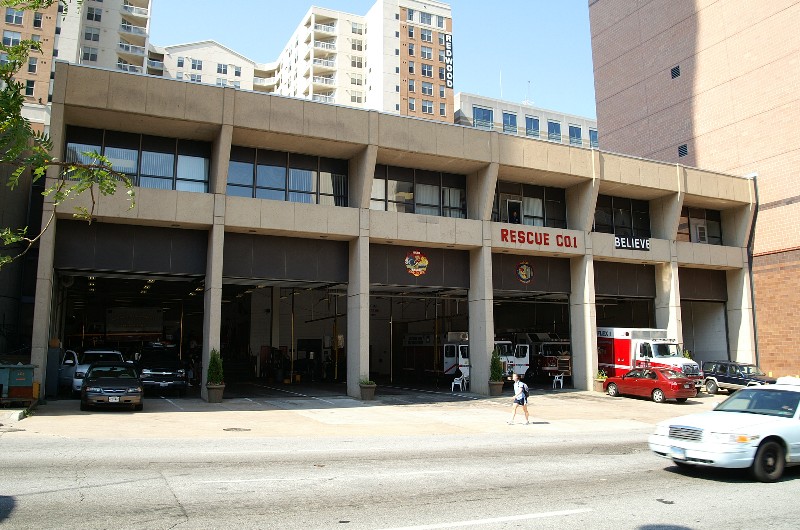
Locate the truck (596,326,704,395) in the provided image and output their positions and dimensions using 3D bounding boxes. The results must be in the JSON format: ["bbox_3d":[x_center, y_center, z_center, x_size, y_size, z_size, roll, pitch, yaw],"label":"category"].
[{"bbox_3d":[15.333,5.541,38.675,3.234,3.073,5.981,5,-10,-27],"label":"truck"}]

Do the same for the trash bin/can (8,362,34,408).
[{"bbox_3d":[-16.016,5.129,26.540,0.934,1.699,0.456,4,-11,-17],"label":"trash bin/can"}]

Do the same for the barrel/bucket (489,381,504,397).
[{"bbox_3d":[5.558,7.220,36.554,0.820,0.615,0.816,1,-13,0],"label":"barrel/bucket"}]

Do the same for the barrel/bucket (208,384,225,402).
[{"bbox_3d":[-9.290,6.467,31.715,0.990,0.786,0.814,2,-13,-12],"label":"barrel/bucket"}]

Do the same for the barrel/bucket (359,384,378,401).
[{"bbox_3d":[-1.754,6.905,34.181,0.924,0.702,0.920,0,-5,0],"label":"barrel/bucket"}]

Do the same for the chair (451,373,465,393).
[{"bbox_3d":[3.716,7.421,39.243,1.044,1.347,1.034,1,-8,5],"label":"chair"}]

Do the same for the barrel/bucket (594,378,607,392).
[{"bbox_3d":[12.339,7.416,38.740,0.759,0.766,0.759,3,-17,1],"label":"barrel/bucket"}]

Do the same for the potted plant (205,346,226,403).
[{"bbox_3d":[-9.413,5.580,31.872,1.043,2.561,1.029,-1,-15,-12],"label":"potted plant"}]

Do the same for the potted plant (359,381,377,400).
[{"bbox_3d":[-1.707,6.827,34.187,0.975,0.740,0.975,-3,-5,9],"label":"potted plant"}]
